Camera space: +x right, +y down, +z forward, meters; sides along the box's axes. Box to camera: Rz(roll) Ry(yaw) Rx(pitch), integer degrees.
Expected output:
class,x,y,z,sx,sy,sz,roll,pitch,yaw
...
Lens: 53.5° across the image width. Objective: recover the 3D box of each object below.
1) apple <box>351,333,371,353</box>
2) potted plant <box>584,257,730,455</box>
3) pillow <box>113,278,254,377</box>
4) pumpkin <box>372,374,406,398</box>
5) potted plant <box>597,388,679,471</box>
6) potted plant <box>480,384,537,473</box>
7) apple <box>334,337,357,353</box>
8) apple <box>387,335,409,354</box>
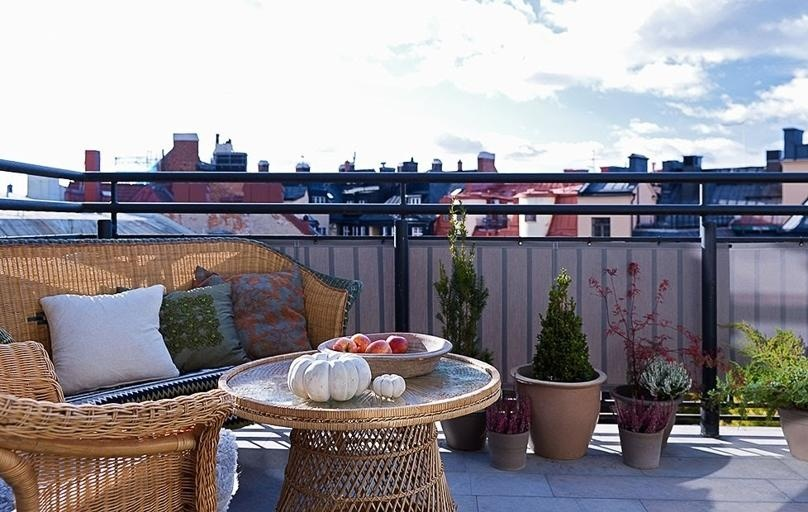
class,x,y,z,sx,sy,sz,roll,pitch,yaw
apple,-0.228,0.453,4.181,0.094,0.094,0.089,3,5,-13
potted plant,1.584,0.716,5.580,1.207,1.524,1.036,3,-7,-7
pillow,-1.314,0.447,4.740,0.460,0.471,0.181,-11,-23,-23
pumpkin,-0.076,0.641,3.943,0.120,0.066,0.119,1,0,-8
potted plant,1.435,1.038,4.895,0.451,0.451,0.428,6,-11,-22
potted plant,0.629,1.075,4.846,0.372,0.535,0.374,0,-4,13
apple,-0.311,0.453,4.152,0.081,0.079,0.081,-2,3,-31
apple,-0.030,0.463,4.204,0.089,0.084,0.089,0,-2,4
